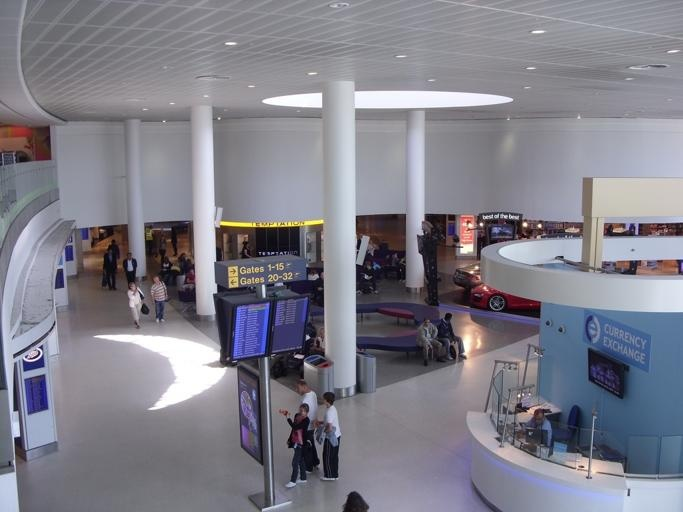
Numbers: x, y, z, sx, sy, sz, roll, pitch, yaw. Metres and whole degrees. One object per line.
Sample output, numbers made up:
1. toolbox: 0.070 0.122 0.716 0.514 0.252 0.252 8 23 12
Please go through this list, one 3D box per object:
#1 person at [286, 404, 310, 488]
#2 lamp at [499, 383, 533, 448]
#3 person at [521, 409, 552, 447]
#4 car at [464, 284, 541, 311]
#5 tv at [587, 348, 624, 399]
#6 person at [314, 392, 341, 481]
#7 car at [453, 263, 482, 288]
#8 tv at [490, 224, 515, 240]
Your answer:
1. person: -0.750 3.215 8.553 0.417 1.429 0.426 -1 10 -5
2. lamp: 2.834 2.646 8.111 0.566 0.797 0.684 0 15 -6
3. person: 3.110 2.719 7.858 0.397 0.301 0.715 4 11 19
4. car: 4.880 1.306 15.085 2.089 0.652 1.163 11 11 0
5. tv: 4.933 2.168 9.237 0.132 0.687 0.953 -6 18 -17
6. person: -0.224 3.095 8.655 0.379 1.602 0.470 -1 10 -3
7. car: 5.149 0.838 20.364 0.958 0.684 2.107 11 13 40
8. tv: 7.147 -1.297 22.114 1.147 0.823 0.640 3 12 18
